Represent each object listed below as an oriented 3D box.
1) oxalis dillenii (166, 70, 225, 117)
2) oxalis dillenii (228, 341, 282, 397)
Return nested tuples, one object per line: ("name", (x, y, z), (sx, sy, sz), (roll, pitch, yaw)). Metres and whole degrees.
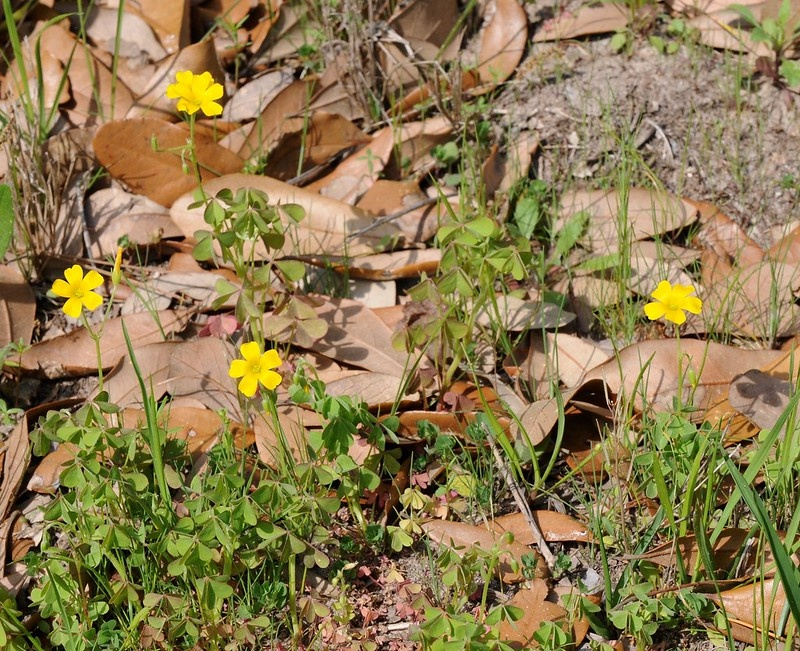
("oxalis dillenii", (-0.602, -0.699, 2.388), (0.137, 0.069, 0.159), (-7, 1, -41))
("oxalis dillenii", (-0.383, 0.110, 2.185), (0.132, 0.044, 0.153), (-34, 79, 0))
